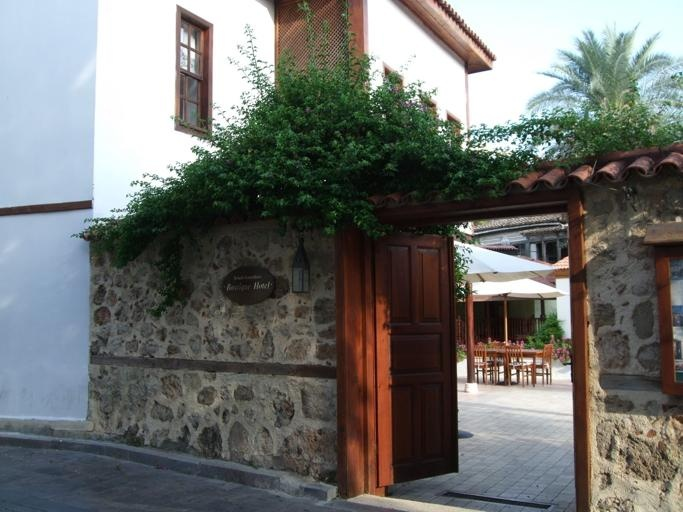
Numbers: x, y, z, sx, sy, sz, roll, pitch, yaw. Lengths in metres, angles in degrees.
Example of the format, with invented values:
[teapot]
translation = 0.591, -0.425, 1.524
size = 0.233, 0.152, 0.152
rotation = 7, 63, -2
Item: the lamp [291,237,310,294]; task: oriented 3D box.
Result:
[lamp]
translation = -0.548, 0.150, 7.647
size = 0.385, 0.707, 0.408
rotation = -2, 4, -10
